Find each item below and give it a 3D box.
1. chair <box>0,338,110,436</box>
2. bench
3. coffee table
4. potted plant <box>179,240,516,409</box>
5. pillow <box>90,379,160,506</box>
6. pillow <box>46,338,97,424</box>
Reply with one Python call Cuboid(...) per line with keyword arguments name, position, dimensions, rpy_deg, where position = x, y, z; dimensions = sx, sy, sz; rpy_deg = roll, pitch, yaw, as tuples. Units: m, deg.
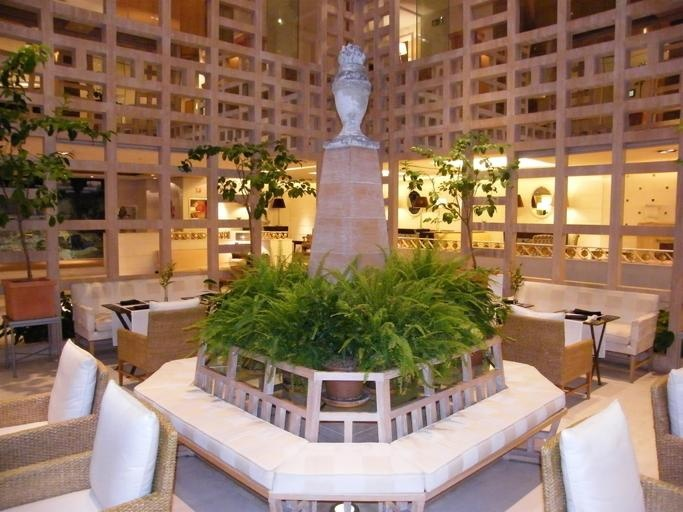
Cuboid(name="chair", position=(-1.971, 0.889, 3.525), dimensions=(0.697, 0.645, 0.670), rpy_deg=(3, 0, -39))
Cuboid(name="bench", position=(0.155, 1.340, 3.689), dimensions=(3.323, 0.416, 1.670), rpy_deg=(0, 10, -13))
Cuboid(name="coffee table", position=(-4.150, 1.220, 6.612), dimensions=(0.642, 0.625, 0.466), rpy_deg=(-9, 24, -43))
Cuboid(name="potted plant", position=(0.089, 0.582, 4.027), dimensions=(1.559, 0.540, 1.596), rpy_deg=(2, 3, 32))
Cuboid(name="pillow", position=(-1.238, 1.127, 2.800), dimensions=(0.330, 0.663, 0.608), rpy_deg=(-4, 12, -30))
Cuboid(name="pillow", position=(-2.094, 0.969, 3.815), dimensions=(0.274, 0.788, 0.777), rpy_deg=(9, -16, -37))
